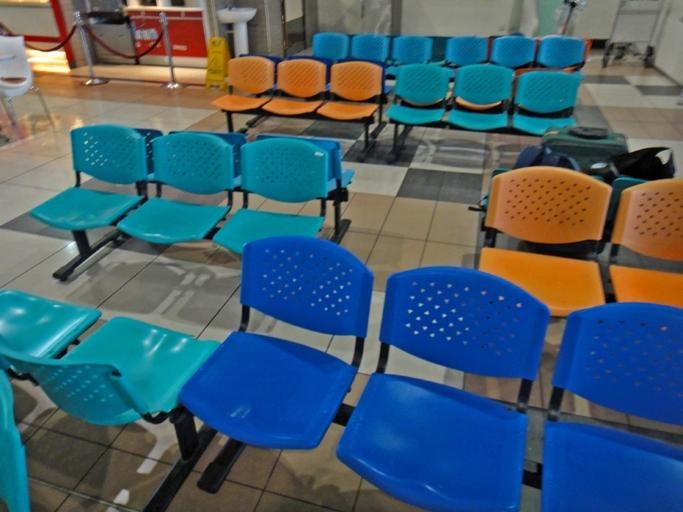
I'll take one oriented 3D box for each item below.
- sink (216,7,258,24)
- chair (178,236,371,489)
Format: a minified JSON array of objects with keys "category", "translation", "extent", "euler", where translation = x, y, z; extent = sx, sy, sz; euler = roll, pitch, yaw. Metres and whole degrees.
[{"category":"sink","translation":[-1.780,-4.073,7.758],"extent":[0.588,0.226,0.618],"euler":[1,36,1]},{"category":"chair","translation":[-0.282,0.507,2.012],"extent":[0.779,0.911,0.771],"euler":[19,39,13]}]
